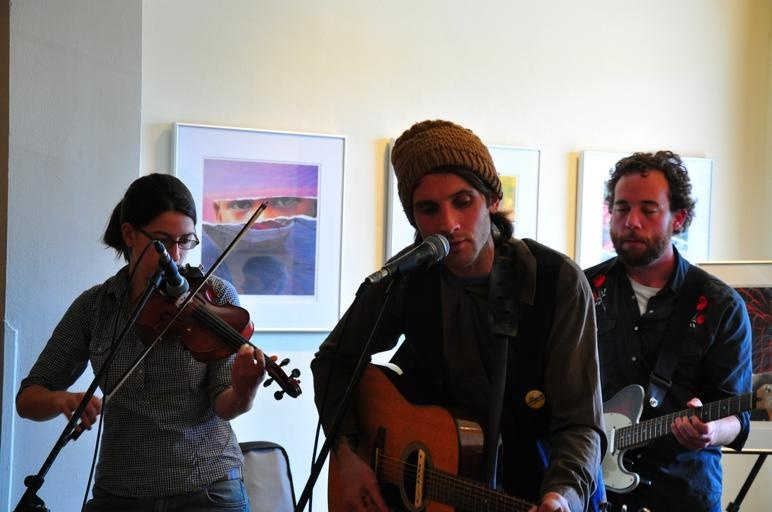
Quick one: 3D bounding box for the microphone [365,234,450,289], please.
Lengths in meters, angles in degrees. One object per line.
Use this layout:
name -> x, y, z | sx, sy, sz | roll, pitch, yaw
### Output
microphone -> 0.093, 0.009, 2.655 | 0.245, 0.195, 0.388 | 1, 0, 25

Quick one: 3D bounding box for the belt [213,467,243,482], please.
belt -> -0.688, 0.971, 3.086 | 0.052, 0.034, 0.073 | -5, -3, 10

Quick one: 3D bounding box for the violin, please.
violin -> -0.728, 0.354, 3.057 | 0.867, 0.126, 0.348 | 29, 46, 17

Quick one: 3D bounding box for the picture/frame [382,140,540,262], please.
picture/frame -> 0.310, -0.257, 3.186 | 0.784, 0.757, 0.075 | 1, -5, -22

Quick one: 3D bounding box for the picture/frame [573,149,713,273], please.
picture/frame -> 1.418, -0.245, 3.935 | 0.790, 0.775, 0.083 | 0, 2, -5

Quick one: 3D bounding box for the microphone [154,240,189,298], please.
microphone -> -0.908, 0.060, 2.904 | 0.092, 0.094, 0.245 | -37, -30, -12

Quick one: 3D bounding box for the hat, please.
hat -> 0.236, -0.334, 2.994 | 0.370, 0.396, 0.465 | -10, -27, 0
